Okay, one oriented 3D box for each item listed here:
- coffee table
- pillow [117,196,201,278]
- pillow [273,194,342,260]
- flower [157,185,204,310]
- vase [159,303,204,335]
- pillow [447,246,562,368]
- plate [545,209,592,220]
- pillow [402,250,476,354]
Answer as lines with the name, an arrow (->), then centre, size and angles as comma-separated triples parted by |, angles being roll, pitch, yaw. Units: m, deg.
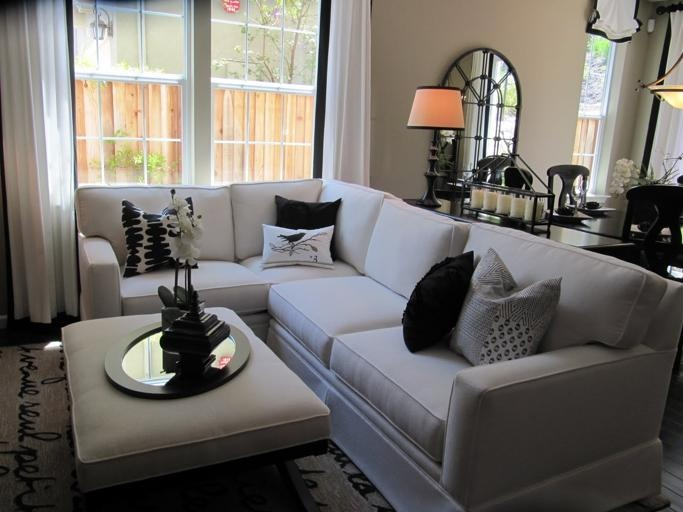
coffee table -> -0.780, 0.565, 2.405 | 1.134, 0.270, 1.247 | 1, 19, -17
pillow -> -1.089, -0.094, 2.965 | 0.436, 0.449, 0.183 | -9, 4, -4
pillow -> -0.243, -0.193, 3.605 | 0.414, 0.443, 0.159 | 3, -32, 1
flower -> -0.704, -0.014, 2.267 | 0.204, 0.541, 0.158 | 0, -18, -9
vase -> -0.743, 0.257, 2.327 | 0.160, 0.118, 0.163 | -1, 1, -33
pillow -> 0.714, 0.296, 2.400 | 0.292, 0.534, 0.527 | 6, 14, -20
plate -> 1.616, -0.300, 3.633 | 0.146, 0.038, 0.146 | -6, 14, -24
pillow -> 0.521, 0.289, 2.596 | 0.304, 0.400, 0.528 | -22, -33, 39
